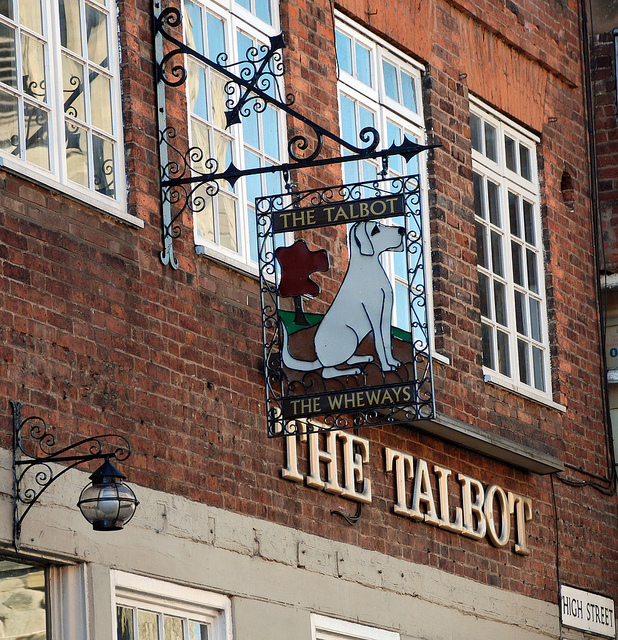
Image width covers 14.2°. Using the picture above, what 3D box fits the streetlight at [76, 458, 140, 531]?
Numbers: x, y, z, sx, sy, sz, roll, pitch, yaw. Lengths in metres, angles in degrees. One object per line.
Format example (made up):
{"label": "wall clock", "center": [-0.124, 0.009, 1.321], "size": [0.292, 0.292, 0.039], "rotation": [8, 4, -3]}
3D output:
{"label": "streetlight", "center": [-1.199, 1.063, 14.853], "size": [0.318, 0.469, 0.354], "rotation": [-5, -13, 6]}
